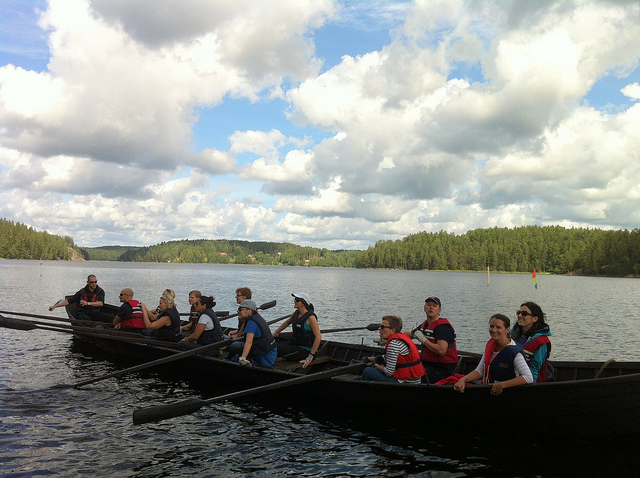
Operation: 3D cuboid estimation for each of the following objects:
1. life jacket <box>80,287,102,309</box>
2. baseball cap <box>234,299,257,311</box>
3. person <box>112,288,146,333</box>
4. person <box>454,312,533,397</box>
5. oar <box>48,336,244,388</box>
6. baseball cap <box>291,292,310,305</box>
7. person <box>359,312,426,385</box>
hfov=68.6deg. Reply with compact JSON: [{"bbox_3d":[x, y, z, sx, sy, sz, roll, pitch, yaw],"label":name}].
[{"bbox_3d":[-8.707,2.215,17.625,0.634,0.791,0.313,3,-7,-9],"label":"life jacket"},{"bbox_3d":[-1.894,1.707,12.224,0.381,0.179,0.250,6,-10,2],"label":"baseball cap"},{"bbox_3d":[-6.552,2.452,15.717,1.056,1.463,1.251,2,-2,-42],"label":"person"},{"bbox_3d":[3.822,2.490,10.085,1.402,1.793,0.775,0,-3,35],"label":"person"},{"bbox_3d":[-5.022,3.710,13.977,5.604,0.251,0.713,-12,10,-25],"label":"oar"},{"bbox_3d":[-0.522,1.619,12.868,0.437,0.150,0.304,23,-13,-19],"label":"baseball cap"},{"bbox_3d":[1.767,2.569,10.941,1.255,1.618,0.803,1,-3,16],"label":"person"}]
